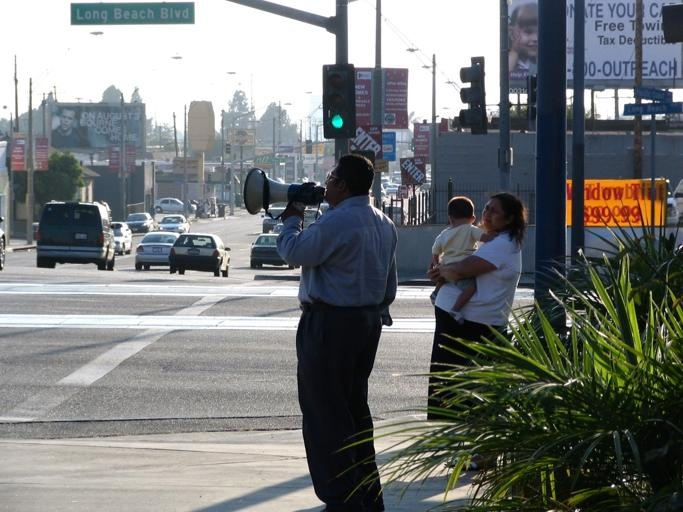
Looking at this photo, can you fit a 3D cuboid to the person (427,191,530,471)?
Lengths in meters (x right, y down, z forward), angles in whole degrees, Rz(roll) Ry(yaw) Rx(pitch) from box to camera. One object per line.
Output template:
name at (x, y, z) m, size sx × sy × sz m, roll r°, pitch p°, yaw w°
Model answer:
person at (1.258, 0.598, 12.101) m, size 0.946 × 2.575 × 0.798 m, roll 0°, pitch 0°, yaw -3°

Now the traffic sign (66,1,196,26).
traffic sign at (-3.663, -4.254, 23.163) m, size 2.111 × 0.375 × 0.414 m, roll 0°, pitch 6°, yaw -4°

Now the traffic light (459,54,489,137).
traffic light at (2.214, -2.713, 22.241) m, size 0.450 × 1.277 × 1.150 m, roll 1°, pitch 6°, yaw 5°

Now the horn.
horn at (-0.522, -0.555, 11.375) m, size 0.804 × 0.515 × 0.482 m, roll 2°, pitch 5°, yaw 9°

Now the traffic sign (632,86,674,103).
traffic sign at (5.176, -2.685, 21.936) m, size 0.496 × 0.260 × 1.186 m, roll 3°, pitch 7°, yaw 24°

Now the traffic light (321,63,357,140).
traffic light at (-0.033, -2.257, 19.487) m, size 0.540 × 1.837 × 0.638 m, roll 1°, pitch 6°, yaw -2°
